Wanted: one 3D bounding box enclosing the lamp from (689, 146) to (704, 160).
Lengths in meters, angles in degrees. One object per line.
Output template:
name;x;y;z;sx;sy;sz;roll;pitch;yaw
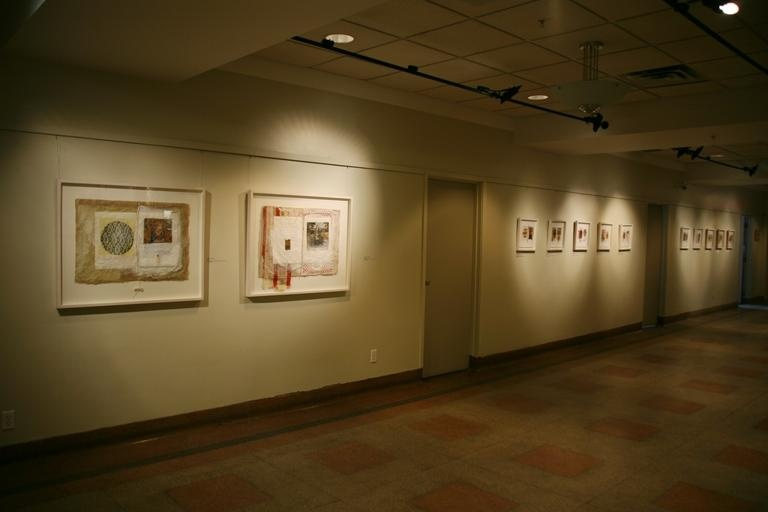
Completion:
lamp;6.818;-2.240;11.505;0.217;0.197;0.874;5;8;30

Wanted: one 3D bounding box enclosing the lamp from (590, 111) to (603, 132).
lamp;3.480;-2.169;8.555;0.262;0.285;0.508;4;7;21

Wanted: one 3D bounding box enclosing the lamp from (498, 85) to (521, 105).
lamp;1.867;-2.384;7.852;0.303;0.243;0.736;3;7;13

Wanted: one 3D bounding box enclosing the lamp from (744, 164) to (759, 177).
lamp;8.733;-2.058;12.599;0.265;0.281;0.098;-13;23;-24

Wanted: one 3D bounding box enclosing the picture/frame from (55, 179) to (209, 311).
picture/frame;-2.907;-0.142;5.960;1.485;1.318;0.154;-1;4;-29
